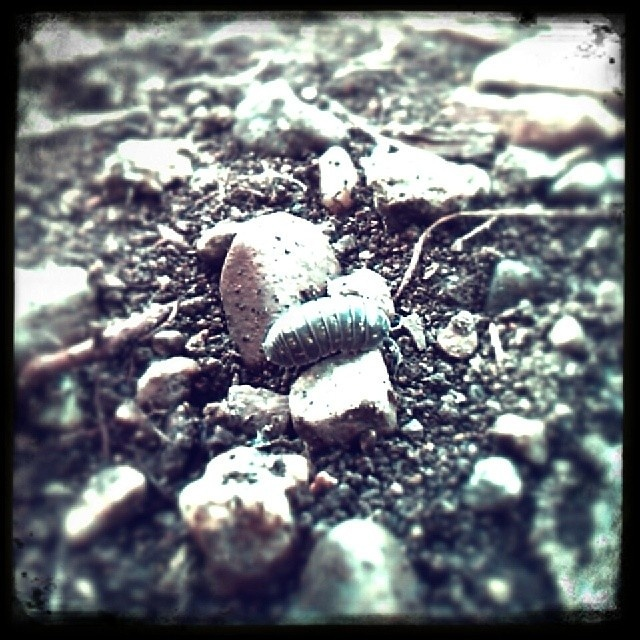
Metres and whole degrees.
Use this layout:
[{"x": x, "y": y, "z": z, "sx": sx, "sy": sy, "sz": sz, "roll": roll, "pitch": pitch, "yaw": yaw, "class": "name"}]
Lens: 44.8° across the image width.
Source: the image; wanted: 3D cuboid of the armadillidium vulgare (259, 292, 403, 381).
[{"x": 0.010, "y": 0.051, "z": 2.118, "sx": 0.282, "sy": 0.104, "sz": 0.198, "roll": -18, "pitch": 80, "yaw": -5, "class": "armadillidium vulgare"}]
